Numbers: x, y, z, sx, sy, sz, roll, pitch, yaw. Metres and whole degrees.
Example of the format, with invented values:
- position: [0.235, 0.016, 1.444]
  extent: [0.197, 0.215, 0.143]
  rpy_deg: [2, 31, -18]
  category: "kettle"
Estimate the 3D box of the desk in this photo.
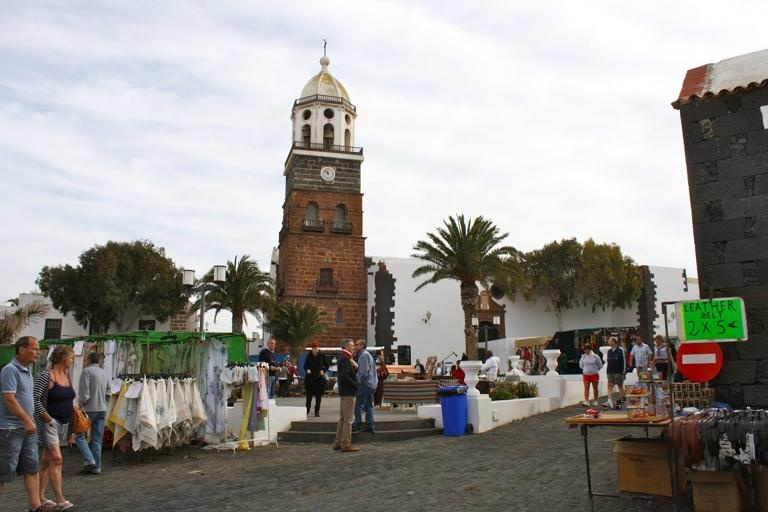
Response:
- position: [3.762, 3.119, 10.794]
  extent: [1.652, 1.634, 1.730]
  rpy_deg: [-4, -14, 20]
  category: "desk"

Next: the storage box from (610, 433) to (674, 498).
- position: [4.127, 3.154, 10.705]
  extent: [1.245, 0.927, 0.807]
  rpy_deg: [-4, -6, 34]
  category: "storage box"

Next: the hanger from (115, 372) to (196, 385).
- position: [-4.657, 2.501, 13.885]
  extent: [1.434, 0.134, 0.685]
  rpy_deg: [4, -11, -21]
  category: "hanger"

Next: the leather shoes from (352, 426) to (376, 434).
- position: [-0.458, 4.180, 16.155]
  extent: [0.535, 0.239, 0.185]
  rpy_deg: [7, -18, 3]
  category: "leather shoes"

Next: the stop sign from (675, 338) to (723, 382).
- position: [5.043, 1.657, 10.759]
  extent: [0.869, 0.908, 0.118]
  rpy_deg: [-5, -12, 45]
  category: "stop sign"

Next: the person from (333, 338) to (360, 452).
- position: [-0.836, 3.075, 14.906]
  extent: [0.472, 2.427, 0.569]
  rpy_deg: [1, -9, -5]
  category: "person"

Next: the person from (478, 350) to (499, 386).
- position: [3.207, 3.402, 20.479]
  extent: [0.617, 1.006, 0.534]
  rpy_deg: [-9, -23, 34]
  category: "person"

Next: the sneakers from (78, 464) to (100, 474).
- position: [-5.612, 4.061, 12.881]
  extent: [0.481, 0.215, 0.165]
  rpy_deg: [-3, -8, 40]
  category: "sneakers"
